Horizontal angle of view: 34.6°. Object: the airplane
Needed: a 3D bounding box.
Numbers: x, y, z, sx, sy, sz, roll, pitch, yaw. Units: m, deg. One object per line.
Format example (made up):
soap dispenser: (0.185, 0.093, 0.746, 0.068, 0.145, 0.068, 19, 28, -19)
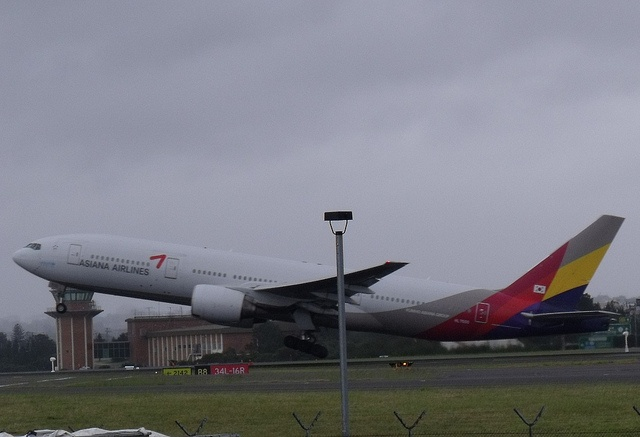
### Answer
airplane: (0.888, 4.221, 57.201, 16.567, 4.812, 15.199, 8, -11, 1)
